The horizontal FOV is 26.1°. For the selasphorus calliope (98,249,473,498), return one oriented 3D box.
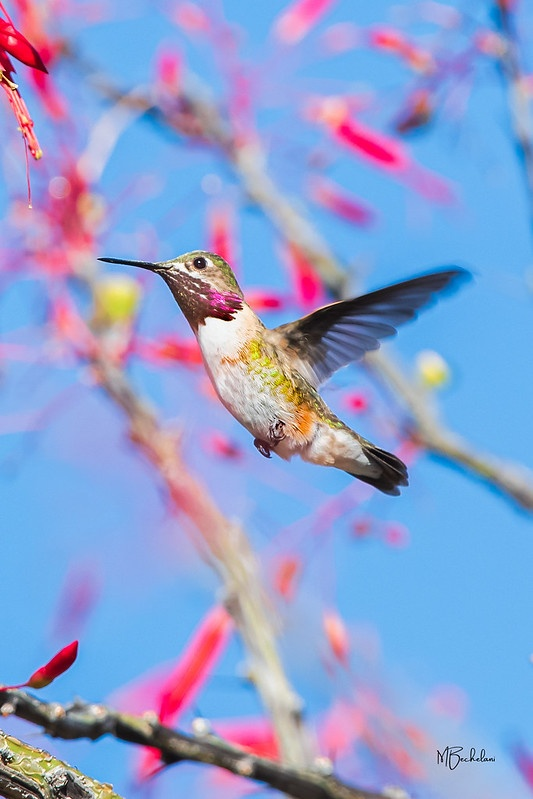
[{"bbox_3d":[0.030,-0.051,1.901,0.467,0.497,0.270,14,71,-8],"label":"selasphorus calliope"}]
